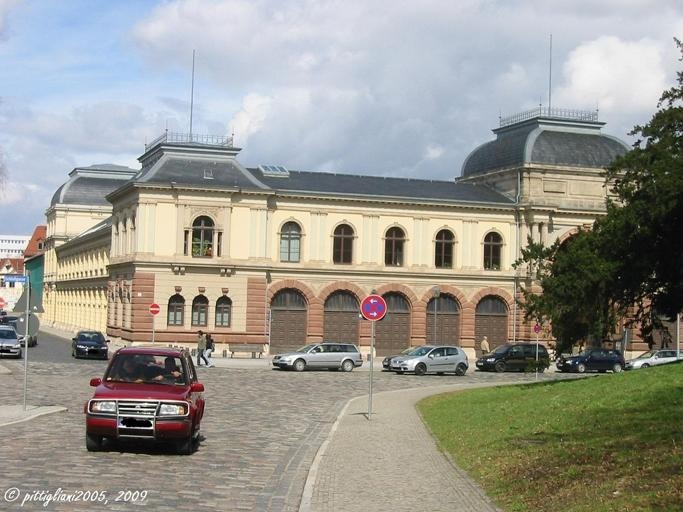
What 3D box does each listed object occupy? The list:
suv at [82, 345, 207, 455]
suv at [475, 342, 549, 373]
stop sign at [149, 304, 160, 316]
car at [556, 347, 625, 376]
[{"bbox_3d":[-5.179,3.730,29.173,3.006,2.831,2.024,3,-10,-15],"label":"suv"},{"bbox_3d":[9.559,5.446,61.688,3.225,1.348,1.847,4,-7,-19],"label":"suv"},{"bbox_3d":[-10.419,2.965,62.111,0.824,0.844,0.199,2,4,8],"label":"stop sign"},{"bbox_3d":[14.201,5.994,63.328,3.508,1.211,1.639,3,-6,-16],"label":"car"}]
